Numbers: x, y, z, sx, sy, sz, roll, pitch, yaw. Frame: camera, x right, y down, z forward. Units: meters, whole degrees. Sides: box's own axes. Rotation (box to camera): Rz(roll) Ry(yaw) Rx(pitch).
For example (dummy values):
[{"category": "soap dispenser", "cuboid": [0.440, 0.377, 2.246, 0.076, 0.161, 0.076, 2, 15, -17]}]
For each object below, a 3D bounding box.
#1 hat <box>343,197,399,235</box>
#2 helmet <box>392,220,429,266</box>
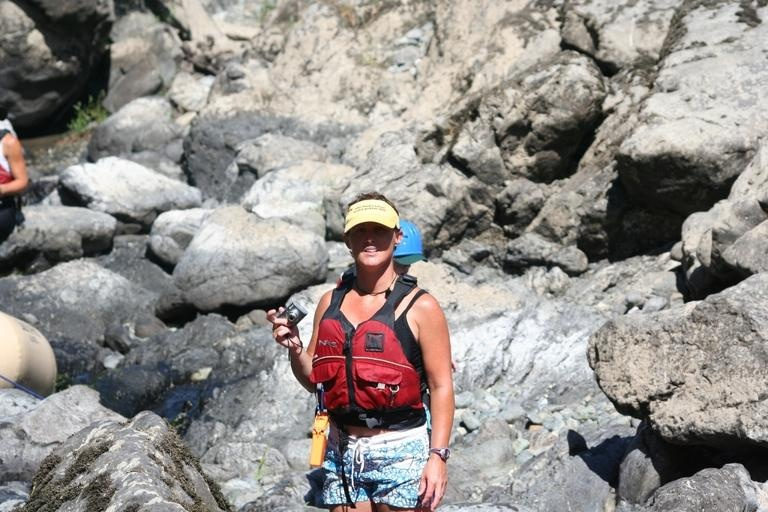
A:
[{"category": "hat", "cuboid": [-0.161, -0.480, 17.820, 0.692, 0.999, 0.378, -1, 90, -3]}, {"category": "helmet", "cuboid": [0.291, -0.157, 19.503, 0.392, 0.319, 0.572, -8, 25, -31]}]
